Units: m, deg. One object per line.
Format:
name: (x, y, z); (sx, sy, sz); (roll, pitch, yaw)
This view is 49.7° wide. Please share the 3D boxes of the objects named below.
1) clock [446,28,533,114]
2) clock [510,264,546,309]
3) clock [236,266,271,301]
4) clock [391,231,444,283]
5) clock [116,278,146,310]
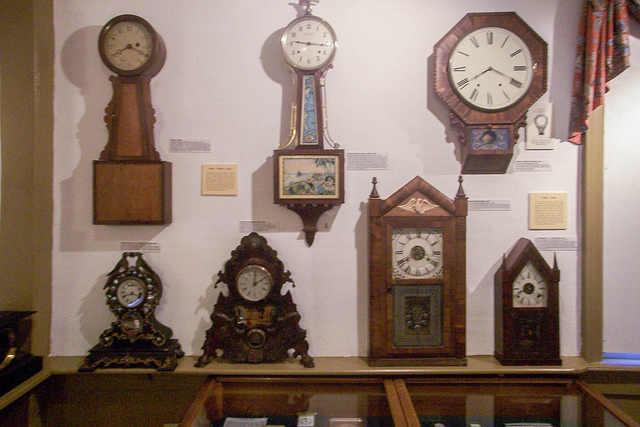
clock: (1.329, -1.139, 5.453); (0.737, 0.685, 0.070); (-1, 5, -8)
clock: (1.618, 0.578, 5.399); (0.360, 0.402, 0.044); (0, 2, 5)
clock: (-0.533, 0.546, 5.437); (0.280, 0.273, 0.046); (0, -2, 0)
clock: (0.734, 0.330, 5.392); (0.410, 0.388, 0.044); (0, 1, 1)
clock: (-1.497, 0.630, 5.422); (0.255, 0.267, 0.045); (0, -2, 0)
